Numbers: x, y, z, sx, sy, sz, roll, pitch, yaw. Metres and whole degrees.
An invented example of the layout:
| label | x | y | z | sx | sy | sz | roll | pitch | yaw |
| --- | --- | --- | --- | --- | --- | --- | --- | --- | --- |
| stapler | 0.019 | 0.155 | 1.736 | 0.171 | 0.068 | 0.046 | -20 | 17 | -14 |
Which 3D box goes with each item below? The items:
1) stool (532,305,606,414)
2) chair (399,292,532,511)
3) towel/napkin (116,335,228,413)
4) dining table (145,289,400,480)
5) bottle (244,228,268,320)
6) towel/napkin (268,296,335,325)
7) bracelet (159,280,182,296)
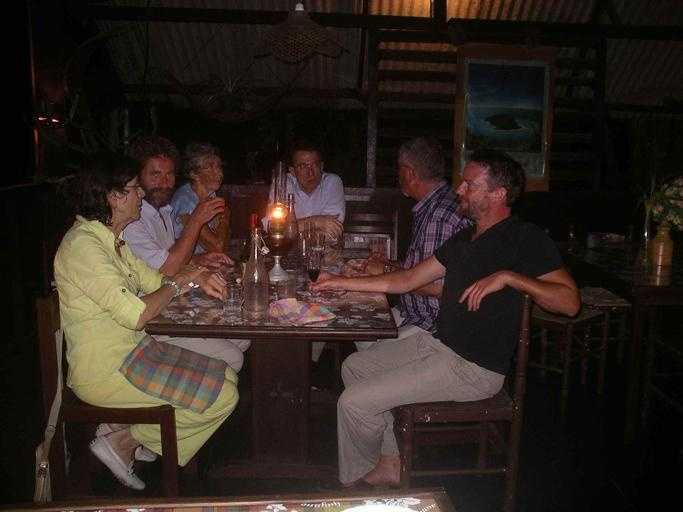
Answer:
| label | x | y | z | sx | sy | sz | roll | pitch | yaw |
| --- | --- | --- | --- | --- | --- | --- | --- | --- | --- |
| stool | 1.759 | 0.832 | 4.399 | 0.531 | 0.643 | 0.703 | -5 | 20 | -5 |
| chair | 0.710 | 0.802 | 3.332 | 0.697 | 1.270 | 0.931 | 3 | 6 | 17 |
| towel/napkin | -0.912 | 0.642 | 3.076 | 0.453 | 0.152 | 0.442 | 22 | 19 | 0 |
| dining table | -0.329 | 0.760 | 3.379 | 1.217 | 0.845 | 1.183 | 3 | 13 | 6 |
| bottle | -0.453 | 0.087 | 3.035 | 0.131 | 0.481 | 0.229 | 0 | 6 | -8 |
| towel/napkin | -0.210 | 0.295 | 3.020 | 0.343 | 0.103 | 0.254 | 0 | 5 | -9 |
| bracelet | -0.928 | 0.179 | 3.081 | 0.106 | 0.044 | 0.116 | 23 | 5 | -5 |
